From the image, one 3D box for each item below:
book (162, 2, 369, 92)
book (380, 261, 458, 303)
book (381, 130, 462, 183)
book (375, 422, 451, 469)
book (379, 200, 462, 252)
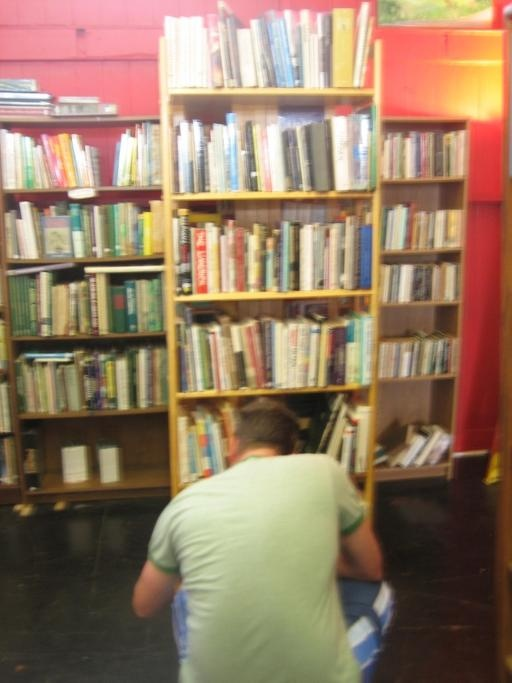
[{"bbox_3d":[0.033,-0.953,1.980,0.649,0.237,0.089,-2,11,-6],"label":"book"},{"bbox_3d":[0.787,-0.280,2.942,0.391,0.188,0.039,-2,11,-8],"label":"book"},{"bbox_3d":[0.787,-0.876,2.860,0.396,0.219,0.043,0,11,3],"label":"book"},{"bbox_3d":[0.789,0.531,3.111,0.314,0.102,0.226,-1,28,13],"label":"book"},{"bbox_3d":[0.789,-0.543,2.902,0.393,0.212,0.072,-2,11,-10],"label":"book"}]
